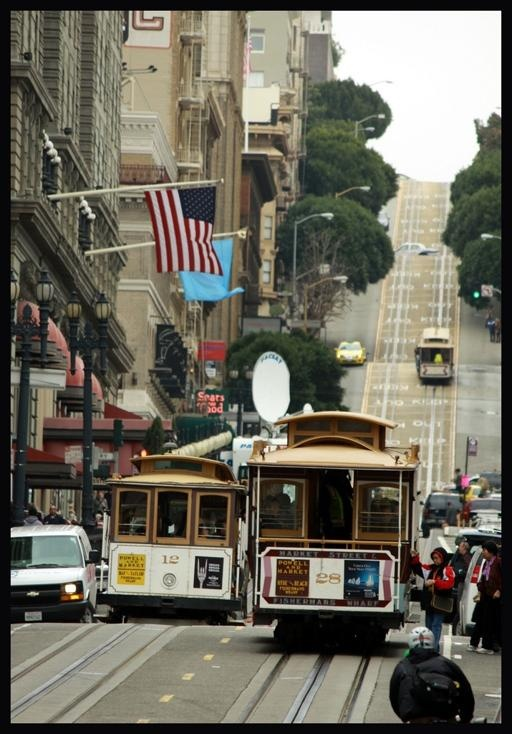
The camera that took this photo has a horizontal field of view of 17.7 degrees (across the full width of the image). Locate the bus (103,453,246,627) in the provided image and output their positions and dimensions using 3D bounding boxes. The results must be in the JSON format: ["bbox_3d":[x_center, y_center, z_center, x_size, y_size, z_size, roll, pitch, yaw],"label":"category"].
[{"bbox_3d":[-1.225,2.789,26.942,1.376,2.125,3.011,0,-6,2],"label":"bus"}]

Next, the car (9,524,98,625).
[{"bbox_3d":[-3.161,3.122,25.210,1.190,1.507,2.067,-2,-7,19],"label":"car"}]

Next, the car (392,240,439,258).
[{"bbox_3d":[15.048,-10.587,151.667,5.187,1.496,2.548,3,-8,-23],"label":"car"}]

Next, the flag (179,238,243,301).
[{"bbox_3d":[-1.166,-2.688,45.381,1.278,2.212,1.062,1,-21,-25],"label":"flag"}]

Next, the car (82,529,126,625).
[{"bbox_3d":[-2.650,3.574,27.382,0.881,1.211,1.804,0,-11,-2],"label":"car"}]

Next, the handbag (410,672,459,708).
[{"bbox_3d":[1.478,2.603,13.393,0.263,0.363,0.237,-3,4,-7],"label":"handbag"}]

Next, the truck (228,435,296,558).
[{"bbox_3d":[0.115,1.931,24.172,1.185,2.042,3.465,1,6,0],"label":"truck"}]

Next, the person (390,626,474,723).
[{"bbox_3d":[1.464,2.745,13.778,0.516,0.979,0.811,-3,-49,3],"label":"person"}]

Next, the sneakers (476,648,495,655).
[{"bbox_3d":[3.186,3.889,22.679,0.234,0.134,0.096,3,4,14],"label":"sneakers"}]

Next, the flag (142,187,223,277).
[{"bbox_3d":[-1.587,-3.048,37.098,1.560,0.154,2.422,1,-45,4],"label":"flag"}]
